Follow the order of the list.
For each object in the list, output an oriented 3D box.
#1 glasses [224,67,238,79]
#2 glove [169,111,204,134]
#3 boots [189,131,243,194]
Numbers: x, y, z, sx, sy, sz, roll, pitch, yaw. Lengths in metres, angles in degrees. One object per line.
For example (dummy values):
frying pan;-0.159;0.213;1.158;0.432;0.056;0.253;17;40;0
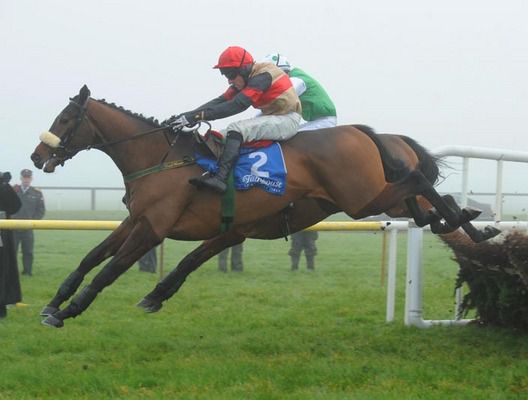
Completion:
glasses;-0.255;-0.980;4.977;0.114;0.058;0.126;-3;5;-2
glove;-0.612;-0.599;4.866;0.161;0.137;0.304;-7;10;-43
boots;-0.344;-0.264;4.716;0.370;0.506;0.138;17;-38;10
